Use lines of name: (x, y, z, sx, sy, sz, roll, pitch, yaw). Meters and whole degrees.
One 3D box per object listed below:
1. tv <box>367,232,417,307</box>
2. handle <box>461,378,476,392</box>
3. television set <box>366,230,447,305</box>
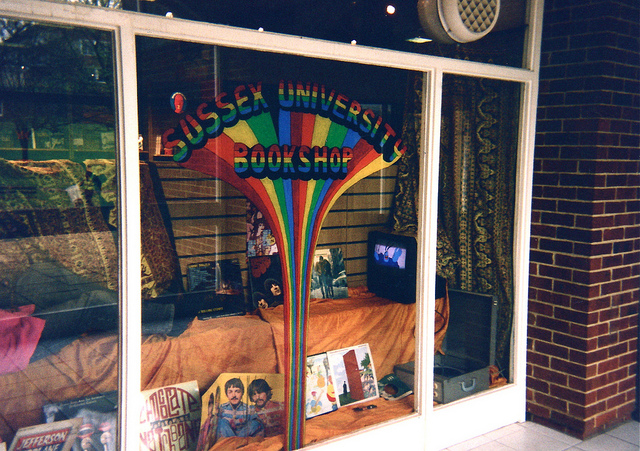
tv: (0.394, 0.280, 3.561, 0.294, 0.418, 0.223, 10, -13, -12)
handle: (1.001, 1.055, 3.759, 0.074, 0.097, 0.022, -1, 3, -13)
television set: (0.483, 0.308, 3.751, 0.304, 0.444, 0.585, 5, -3, 16)
